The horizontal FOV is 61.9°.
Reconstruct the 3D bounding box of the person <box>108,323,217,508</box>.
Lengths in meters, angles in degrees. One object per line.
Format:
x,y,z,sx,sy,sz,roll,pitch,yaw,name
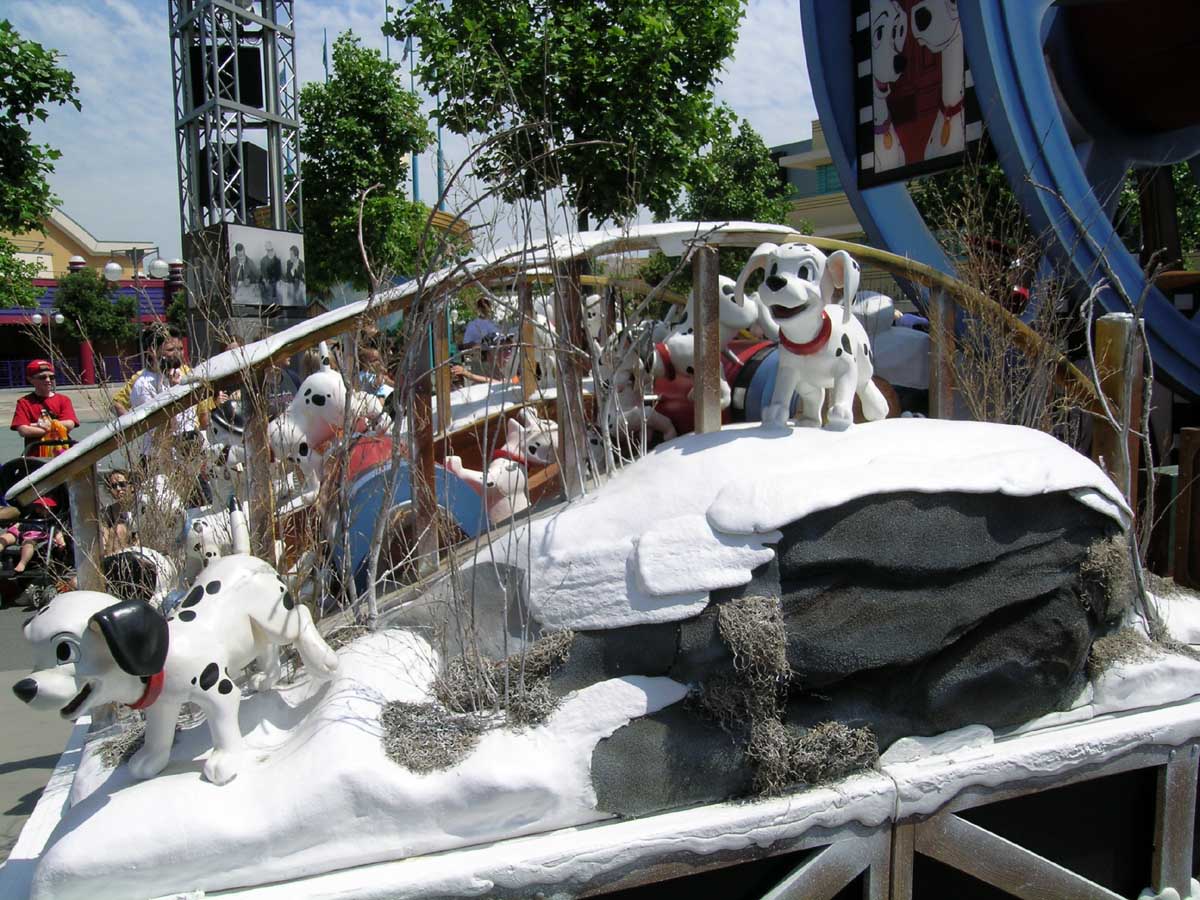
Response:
-2.281,-0.101,5.530,0.260,1.119,0.382,-20,-6,43,person

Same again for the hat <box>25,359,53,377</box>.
-4.344,-0.635,7.800,0.158,0.189,0.214,-5,16,-17,hat

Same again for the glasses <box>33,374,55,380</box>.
-4.291,-0.574,7.739,0.122,0.060,0.082,-13,9,-29,glasses
